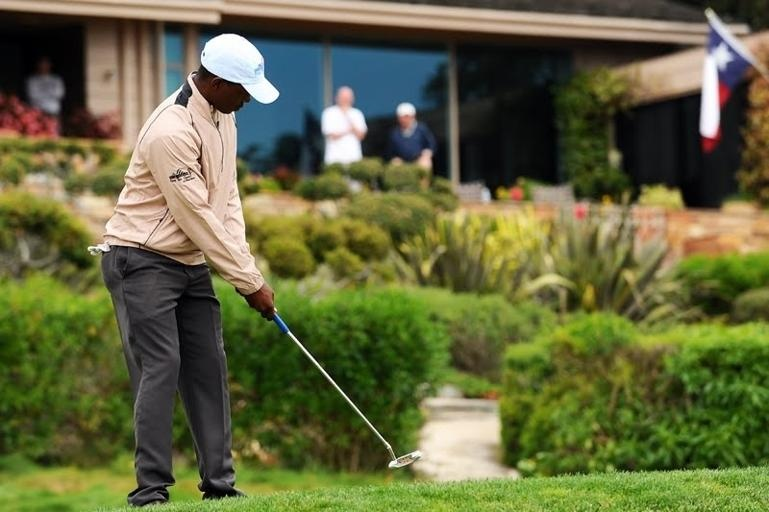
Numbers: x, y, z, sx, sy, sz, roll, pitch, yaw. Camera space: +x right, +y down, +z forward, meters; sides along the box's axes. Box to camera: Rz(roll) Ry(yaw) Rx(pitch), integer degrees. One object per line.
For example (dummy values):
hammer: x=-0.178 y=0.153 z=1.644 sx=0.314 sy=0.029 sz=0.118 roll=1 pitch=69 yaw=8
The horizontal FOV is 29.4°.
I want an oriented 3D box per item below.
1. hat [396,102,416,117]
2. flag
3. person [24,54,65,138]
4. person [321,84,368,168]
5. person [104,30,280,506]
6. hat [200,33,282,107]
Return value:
hat: x=0.181 y=-1.223 z=12.277 sx=0.132 sy=0.119 sz=0.110 roll=-9 pitch=-1 yaw=41
flag: x=2.971 y=-1.527 z=12.713 sx=0.520 sy=1.208 sz=0.109 roll=-5 pitch=2 yaw=-24
person: x=-3.933 y=-1.828 z=16.770 sx=0.457 sy=0.774 sz=0.469 roll=-4 pitch=2 yaw=-1
person: x=-0.348 y=-1.060 z=12.313 sx=0.262 sy=0.762 sz=0.226 roll=-3 pitch=6 yaw=-44
person: x=-1.551 y=0.018 z=11.233 sx=1.108 sy=3.980 sz=1.388 roll=3 pitch=-8 yaw=-30
hat: x=-1.057 y=-1.475 z=11.145 sx=0.606 sy=0.343 sz=0.401 roll=32 pitch=30 yaw=-5
